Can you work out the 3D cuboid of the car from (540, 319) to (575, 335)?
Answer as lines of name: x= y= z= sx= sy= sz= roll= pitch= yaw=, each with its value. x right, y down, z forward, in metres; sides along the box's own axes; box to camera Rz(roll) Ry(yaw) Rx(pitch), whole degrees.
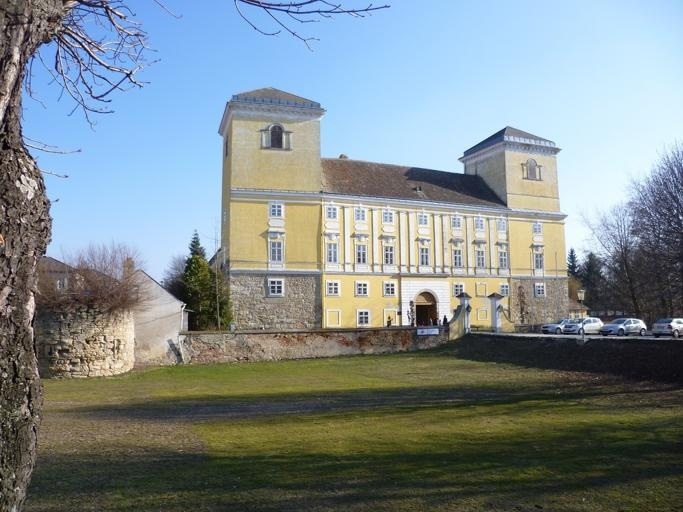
car: x=14.137 y=4.541 z=50.269 sx=1.888 sy=0.665 sz=0.860 roll=2 pitch=-8 yaw=-17

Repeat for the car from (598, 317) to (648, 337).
car: x=16.916 y=4.253 z=46.695 sx=2.801 sy=0.923 sz=1.258 roll=7 pitch=-14 yaw=-28

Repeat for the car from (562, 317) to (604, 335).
car: x=15.044 y=4.416 z=48.769 sx=2.082 sy=0.842 sz=1.124 roll=8 pitch=-13 yaw=-27
